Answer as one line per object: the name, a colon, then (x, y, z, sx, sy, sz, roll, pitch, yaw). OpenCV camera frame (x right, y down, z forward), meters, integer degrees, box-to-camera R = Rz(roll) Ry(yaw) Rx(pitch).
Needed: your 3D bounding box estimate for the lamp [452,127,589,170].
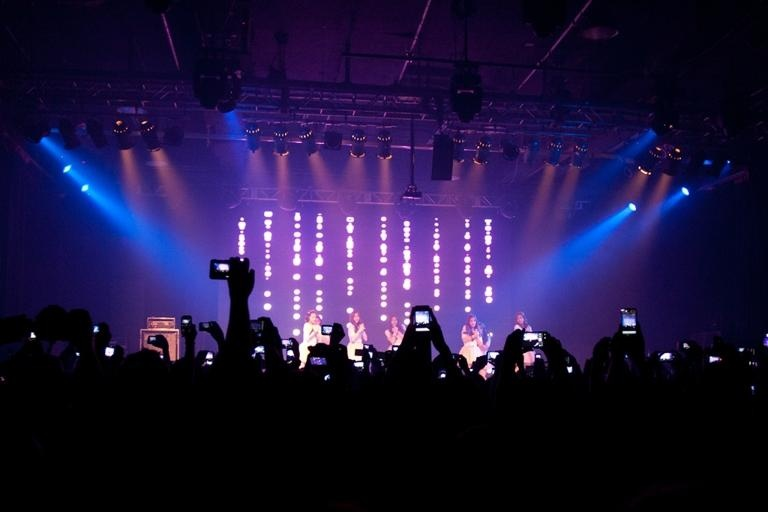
lamp: (2.652, -2.527, 17.387, 2.071, 0.470, 1.813, -10, -5, -5)

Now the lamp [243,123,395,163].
lamp: (-1.451, -2.552, 16.722, 3.129, 0.633, 1.593, 2, 10, -6)

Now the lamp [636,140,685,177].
lamp: (6.276, -2.262, 17.251, 0.634, 0.610, 0.555, 25, 15, -27)

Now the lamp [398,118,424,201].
lamp: (0.644, -2.422, 18.678, 0.538, 2.517, 0.532, 7, -37, -2)

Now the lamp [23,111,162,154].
lamp: (-6.322, -2.706, 16.400, 2.661, 0.703, 0.882, 1, -12, -1)

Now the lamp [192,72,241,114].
lamp: (-3.009, -2.990, 13.725, 0.613, 0.805, 0.292, 0, -43, -9)

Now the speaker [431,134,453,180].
speaker: (1.267, -2.135, 16.175, 0.431, 1.000, 0.547, 4, 11, 4)
